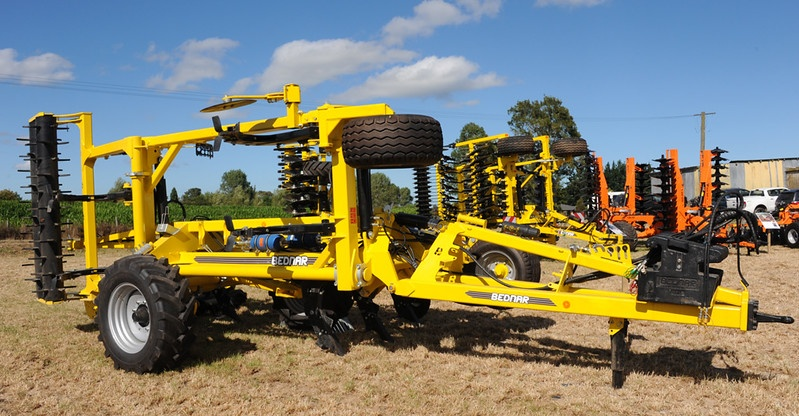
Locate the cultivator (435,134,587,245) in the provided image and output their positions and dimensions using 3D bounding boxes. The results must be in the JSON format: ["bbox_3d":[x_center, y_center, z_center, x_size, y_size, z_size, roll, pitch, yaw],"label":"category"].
[{"bbox_3d":[2.904,-0.239,18.069,5.001,3.285,3.658,-2,-10,21],"label":"cultivator"}]

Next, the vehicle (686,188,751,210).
[{"bbox_3d":[10.244,-0.299,20.691,1.215,0.908,2.530,-2,4,36],"label":"vehicle"}]

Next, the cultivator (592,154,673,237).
[{"bbox_3d":[7.692,-0.247,22.327,2.599,2.650,2.096,4,3,27],"label":"cultivator"}]

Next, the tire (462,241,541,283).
[{"bbox_3d":[2.305,1.228,14.705,1.242,1.145,1.229,14,4,24],"label":"tire"}]

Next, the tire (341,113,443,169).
[{"bbox_3d":[-0.115,-1.134,11.273,1.495,0.597,1.429,0,-1,-36],"label":"tire"}]

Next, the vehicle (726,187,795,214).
[{"bbox_3d":[14.013,-0.278,24.997,2.153,0.700,0.978,-8,7,-23],"label":"vehicle"}]

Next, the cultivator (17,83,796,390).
[{"bbox_3d":[-0.591,0.840,12.186,11.564,3.867,7.580,2,0,25],"label":"cultivator"}]

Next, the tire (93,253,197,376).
[{"bbox_3d":[-4.810,1.995,12.112,2.401,2.223,0.779,23,16,33],"label":"tire"}]
